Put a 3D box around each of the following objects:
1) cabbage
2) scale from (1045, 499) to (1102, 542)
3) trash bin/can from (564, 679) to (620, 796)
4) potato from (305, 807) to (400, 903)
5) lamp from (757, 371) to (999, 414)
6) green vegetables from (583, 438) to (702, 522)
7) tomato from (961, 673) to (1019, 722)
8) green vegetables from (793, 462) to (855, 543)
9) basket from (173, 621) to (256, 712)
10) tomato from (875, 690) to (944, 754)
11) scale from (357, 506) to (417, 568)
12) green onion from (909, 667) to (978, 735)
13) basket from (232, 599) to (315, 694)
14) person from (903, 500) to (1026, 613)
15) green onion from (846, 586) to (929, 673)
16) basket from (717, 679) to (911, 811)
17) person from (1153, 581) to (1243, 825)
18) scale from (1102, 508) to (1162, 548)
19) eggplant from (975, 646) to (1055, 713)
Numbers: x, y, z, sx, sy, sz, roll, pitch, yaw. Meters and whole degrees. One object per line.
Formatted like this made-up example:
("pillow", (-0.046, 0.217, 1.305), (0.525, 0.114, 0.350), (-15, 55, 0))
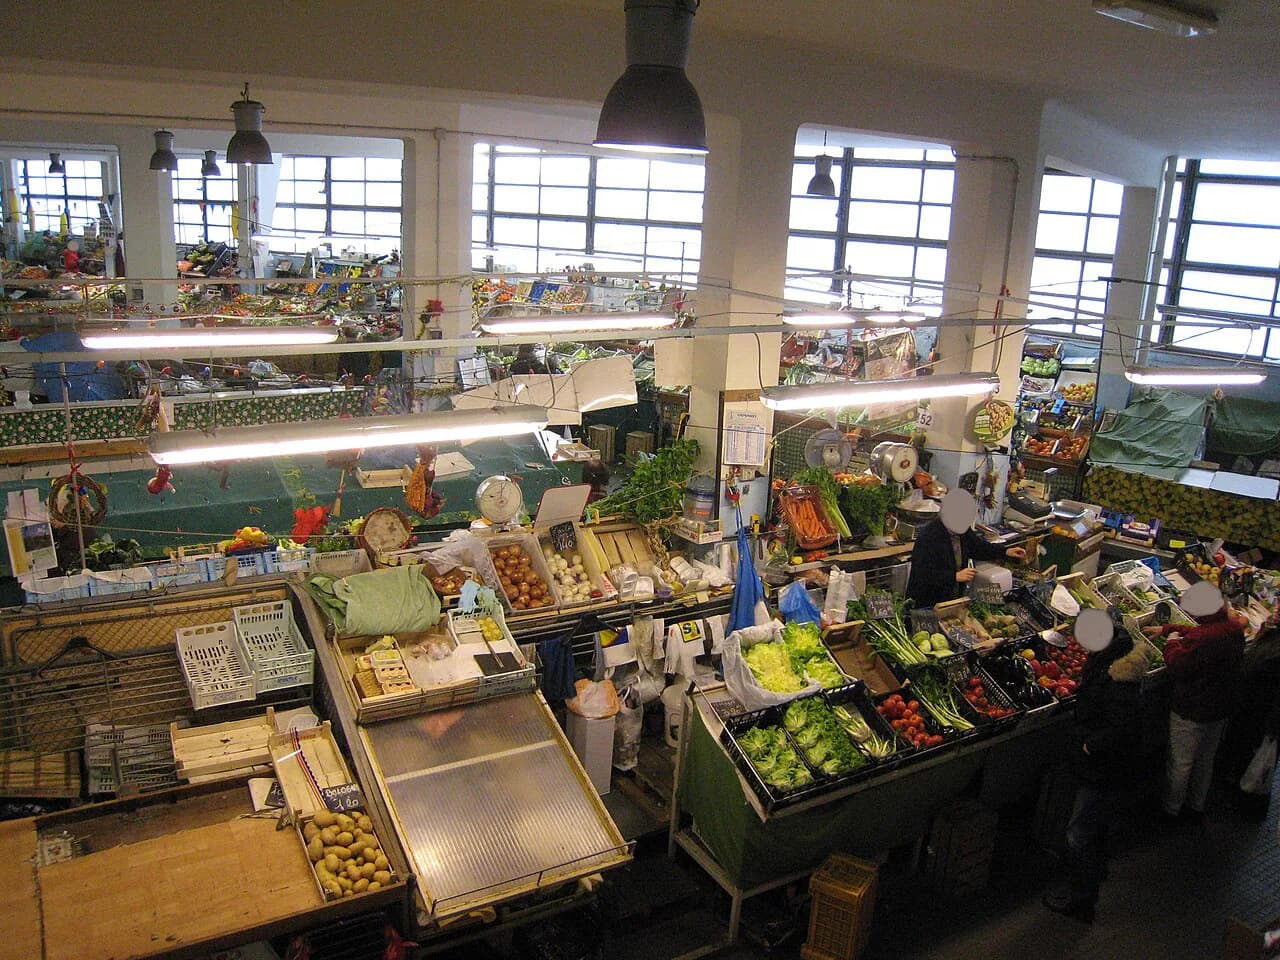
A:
("cabbage", (1.077, 1.829, 6.331), (0.884, 0.315, 0.604), (-8, 15, -29))
("scale", (5.026, 0.447, 10.577), (0.504, 0.131, 0.548), (3, 25, 9))
("trash bin/can", (-0.408, 2.058, 7.290), (0.402, 0.878, 0.379), (-6, 16, -34))
("potato", (-1.699, 2.153, 5.243), (0.358, 0.160, 0.484), (1, 29, -32))
("lamp", (2.367, -0.834, 8.793), (2.590, 0.272, 0.787), (-6, 13, -29))
("green vegetables", (0.070, 0.018, 8.424), (0.929, 0.712, 0.417), (-2, 13, -5))
("tomato", (2.722, 1.724, 7.235), (0.257, 0.133, 0.371), (32, 14, 29))
("green vegetables", (1.684, 0.362, 8.990), (0.542, 0.216, 0.739), (-18, 54, -1))
("basket", (-2.936, 1.262, 6.292), (0.435, 0.245, 0.618), (-7, 43, -29))
("tomato", (2.007, 1.798, 6.804), (0.274, 0.128, 0.404), (-8, 22, -19))
("scale", (-2.043, 0.444, 7.294), (0.409, 0.403, 0.285), (-5, 14, -18))
("green onion", (2.313, 1.702, 7.037), (0.255, 0.106, 0.474), (4, 39, -33))
("basket", (-2.617, 1.176, 6.495), (0.443, 0.249, 0.688), (-4, 41, -29))
("person", (3.046, 0.755, 8.694), (0.473, 0.448, 0.860), (10, -19, 14))
("green onion", (2.075, 1.216, 7.525), (0.426, 0.472, 0.704), (-4, 14, -15))
("basket", (1.251, 1.749, 6.306), (1.071, 0.222, 0.585), (-10, 57, -36))
("person", (4.714, 1.915, 7.750), (0.639, 2.061, 0.497), (-5, 15, -23))
("scale", (6.084, 0.618, 11.346), (0.606, 0.272, 0.645), (5, 14, 24))
("eggplant", (3.092, 1.629, 7.492), (0.340, 0.177, 0.507), (-19, 46, -20))
